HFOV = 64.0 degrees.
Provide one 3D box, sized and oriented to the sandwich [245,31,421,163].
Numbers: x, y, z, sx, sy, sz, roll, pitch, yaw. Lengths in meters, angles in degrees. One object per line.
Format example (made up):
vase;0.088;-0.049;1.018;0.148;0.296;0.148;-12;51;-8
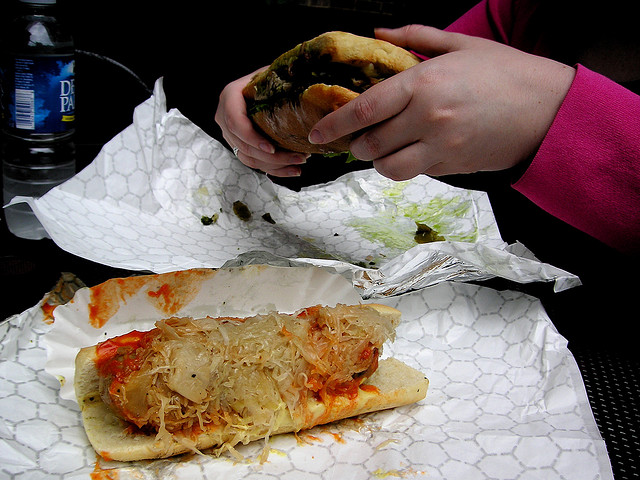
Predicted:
sandwich;-0.052;-0.562;2.001;0.662;0.502;0.298;1;57;48
